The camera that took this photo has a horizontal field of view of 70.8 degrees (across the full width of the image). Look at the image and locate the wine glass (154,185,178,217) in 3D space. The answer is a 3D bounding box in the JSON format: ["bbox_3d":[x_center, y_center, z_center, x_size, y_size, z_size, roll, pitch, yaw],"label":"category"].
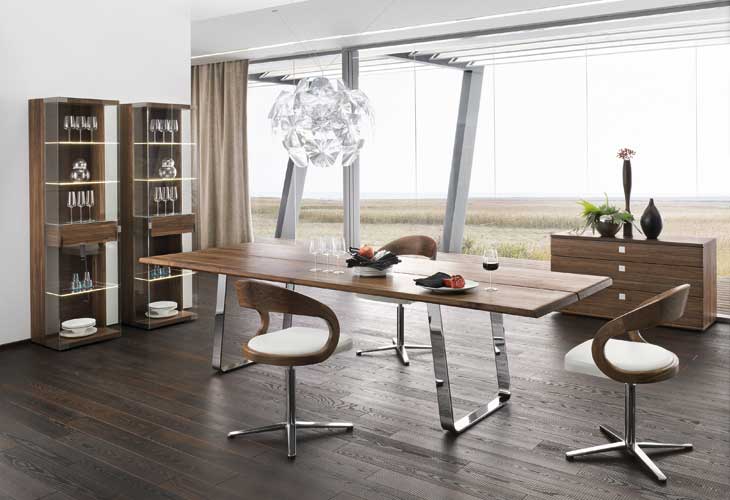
[{"bbox_3d":[-2.205,-0.547,5.664,0.150,0.305,0.414,7,9,33],"label":"wine glass"}]

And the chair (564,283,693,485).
[{"bbox_3d":[1.738,0.768,3.299,0.756,1.125,0.731,9,18,32],"label":"chair"}]

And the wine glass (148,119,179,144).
[{"bbox_3d":[-2.190,-1.289,5.567,0.103,0.214,0.360,10,12,38],"label":"wine glass"}]

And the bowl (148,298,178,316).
[{"bbox_3d":[-2.275,0.653,5.792,0.238,0.068,0.212,6,13,28],"label":"bowl"}]

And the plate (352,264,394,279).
[{"bbox_3d":[-0.008,0.154,3.924,0.382,0.074,0.212,7,14,29],"label":"plate"}]

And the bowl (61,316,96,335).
[{"bbox_3d":[-2.907,0.769,5.203,0.236,0.064,0.196,1,6,7],"label":"bowl"}]

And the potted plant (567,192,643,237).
[{"bbox_3d":[2.792,-0.415,6.087,0.746,0.286,0.621,0,-2,0],"label":"potted plant"}]

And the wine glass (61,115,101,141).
[{"bbox_3d":[-2.865,-1.236,5.163,0.114,0.186,0.379,10,11,40],"label":"wine glass"}]

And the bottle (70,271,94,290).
[{"bbox_3d":[-2.908,0.306,5.259,0.099,0.167,0.237,6,6,34],"label":"bottle"}]

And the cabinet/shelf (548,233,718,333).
[{"bbox_3d":[2.720,0.324,5.066,1.491,0.649,0.472,1,1,30],"label":"cabinet/shelf"}]

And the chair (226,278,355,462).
[{"bbox_3d":[-0.518,0.743,3.532,0.761,1.108,0.653,-15,21,-41],"label":"chair"}]

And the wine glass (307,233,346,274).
[{"bbox_3d":[-0.317,0.046,4.282,0.445,0.218,0.136,5,10,42],"label":"wine glass"}]
